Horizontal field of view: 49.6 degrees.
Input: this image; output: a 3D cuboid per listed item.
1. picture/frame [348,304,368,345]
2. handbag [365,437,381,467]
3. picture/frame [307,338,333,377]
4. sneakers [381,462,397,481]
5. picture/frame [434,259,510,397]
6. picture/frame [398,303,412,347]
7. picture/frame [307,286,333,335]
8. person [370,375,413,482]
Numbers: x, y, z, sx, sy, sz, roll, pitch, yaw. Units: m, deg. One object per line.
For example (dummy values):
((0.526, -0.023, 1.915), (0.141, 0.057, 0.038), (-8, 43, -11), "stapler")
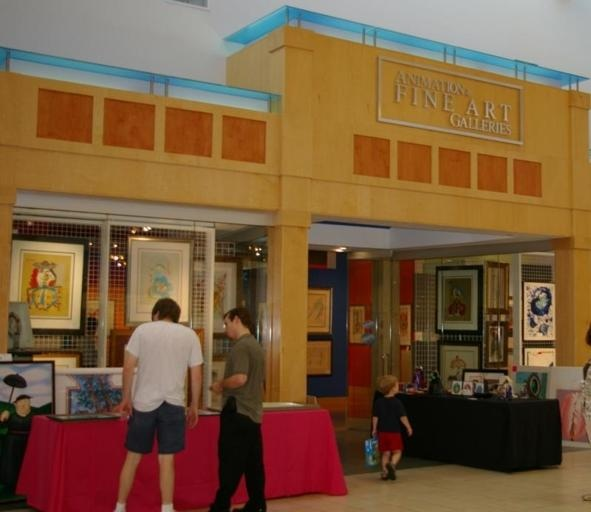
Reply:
((1.181, 1.276, 12.078), (0.346, 0.899, 0.096), (-1, 24, 4), "picture/frame")
((0.948, 2.405, 7.884), (0.156, 0.315, 0.168), (0, -6, 7), "handbag")
((0.545, 2.355, 14.684), (0.717, 0.807, 0.121), (5, -8, -36), "picture/frame")
((1.102, 2.572, 7.554), (0.102, 0.265, 0.116), (1, -9, -42), "sneakers")
((3.276, 1.274, 11.805), (1.306, 2.278, 0.435), (-3, -7, 27), "picture/frame")
((2.047, 1.284, 11.948), (0.060, 0.640, 0.304), (1, -3, -40), "picture/frame")
((0.520, 1.285, 14.802), (0.038, 1.051, 0.793), (9, -9, -44), "picture/frame")
((1.226, 2.151, 8.150), (0.478, 1.226, 1.234), (-1, -7, 9), "person")
